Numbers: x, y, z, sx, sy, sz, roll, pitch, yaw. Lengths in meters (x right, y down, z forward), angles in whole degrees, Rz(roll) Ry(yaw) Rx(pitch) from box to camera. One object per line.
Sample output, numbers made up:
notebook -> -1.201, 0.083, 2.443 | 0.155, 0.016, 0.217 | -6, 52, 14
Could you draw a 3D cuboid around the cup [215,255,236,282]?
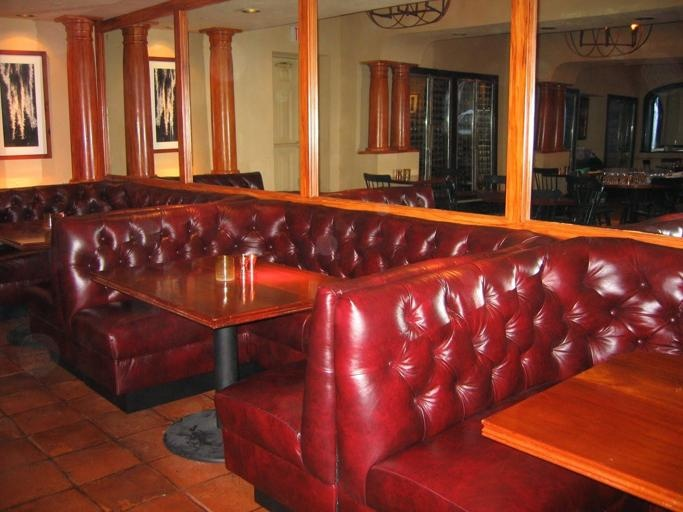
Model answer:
cup -> -0.609, 0.065, 2.895 | 0.123, 0.188, 0.116 | 0, -6, 0
